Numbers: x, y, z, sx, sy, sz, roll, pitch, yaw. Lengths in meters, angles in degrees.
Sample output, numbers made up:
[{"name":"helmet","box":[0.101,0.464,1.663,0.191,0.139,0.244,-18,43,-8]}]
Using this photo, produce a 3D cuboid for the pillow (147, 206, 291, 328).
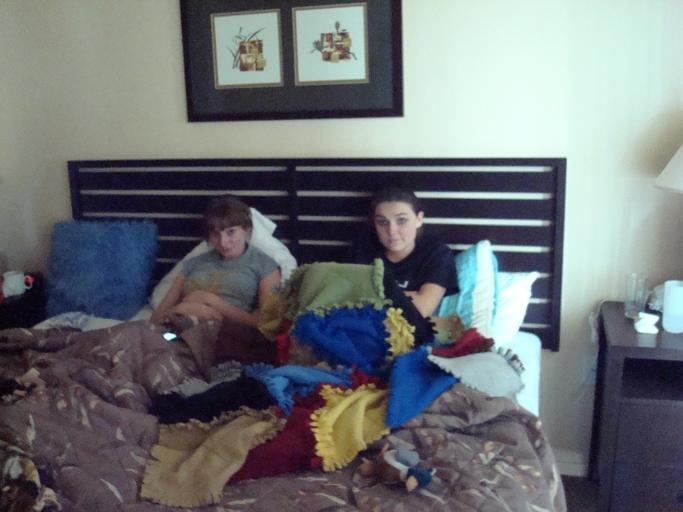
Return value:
[{"name":"pillow","box":[-0.474,0.052,2.745,0.728,0.648,0.449,3,1,18]}]

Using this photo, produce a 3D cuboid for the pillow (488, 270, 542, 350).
[{"name":"pillow","box":[0.688,0.217,2.572,0.077,0.273,0.268,11,1,-9]}]

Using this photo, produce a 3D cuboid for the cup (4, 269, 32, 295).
[{"name":"cup","box":[-1.450,0.119,2.815,0.107,0.102,0.161,1,7,-8]}]

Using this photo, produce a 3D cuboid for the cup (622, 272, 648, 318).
[{"name":"cup","box":[1.147,0.153,2.450,0.144,0.171,0.093,-8,12,-43]}]

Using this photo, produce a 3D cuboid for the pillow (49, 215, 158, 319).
[{"name":"pillow","box":[-1.060,0.053,2.773,0.463,0.415,0.265,-1,8,-21]}]
